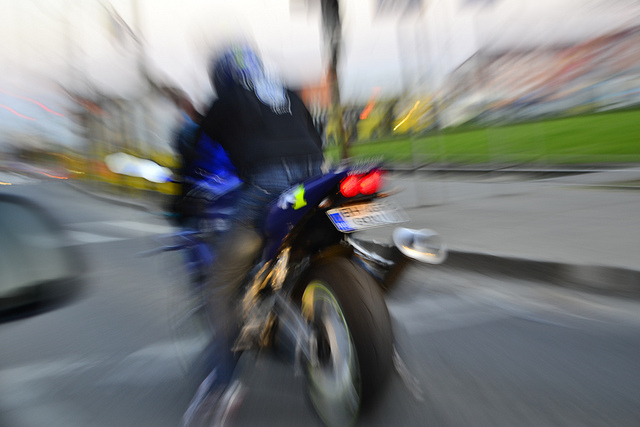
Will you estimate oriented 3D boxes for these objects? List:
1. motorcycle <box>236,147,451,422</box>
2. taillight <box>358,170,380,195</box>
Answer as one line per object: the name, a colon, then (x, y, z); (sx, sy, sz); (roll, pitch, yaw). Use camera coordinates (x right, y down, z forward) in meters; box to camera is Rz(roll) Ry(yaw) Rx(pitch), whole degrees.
motorcycle: (0.096, 0.500, 2.347); (1.414, 1.746, 0.927); (-8, 9, -15)
taillight: (0.348, -0.227, 2.354); (0.123, 0.180, 0.060); (35, 0, -20)
